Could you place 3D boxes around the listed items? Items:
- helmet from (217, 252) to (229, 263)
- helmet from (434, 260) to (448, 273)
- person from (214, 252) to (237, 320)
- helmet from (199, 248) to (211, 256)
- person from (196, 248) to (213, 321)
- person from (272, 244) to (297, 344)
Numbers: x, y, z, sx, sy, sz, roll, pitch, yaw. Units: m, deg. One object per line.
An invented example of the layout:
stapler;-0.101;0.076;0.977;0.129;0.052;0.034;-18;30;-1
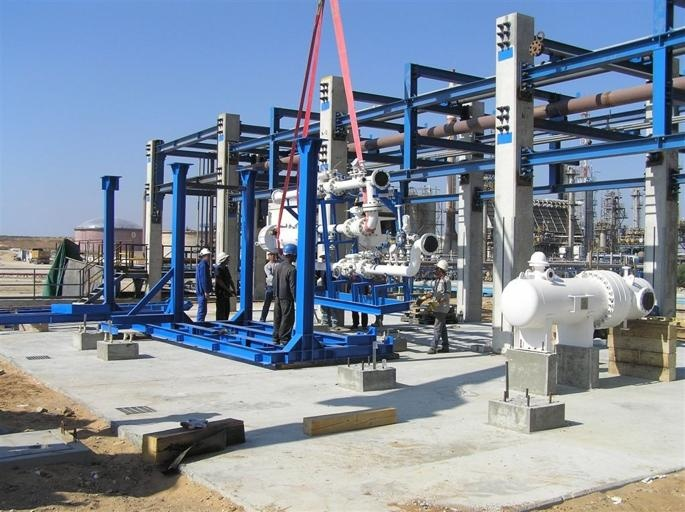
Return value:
helmet;-3.269;0.037;21.256;0.252;0.097;0.280;-26;9;25
helmet;2.448;0.254;18.867;0.306;0.191;0.247;21;5;-37
person;-3.107;0.809;20.538;0.509;1.755;1.197;1;-2;-8
helmet;-3.508;-0.135;20.031;0.260;0.184;0.358;-2;-4;-24
person;-3.606;0.733;20.308;0.377;1.935;1.266;1;-2;-10
person;-1.270;0.836;17.037;0.485;2.217;0.979;1;-2;-5
